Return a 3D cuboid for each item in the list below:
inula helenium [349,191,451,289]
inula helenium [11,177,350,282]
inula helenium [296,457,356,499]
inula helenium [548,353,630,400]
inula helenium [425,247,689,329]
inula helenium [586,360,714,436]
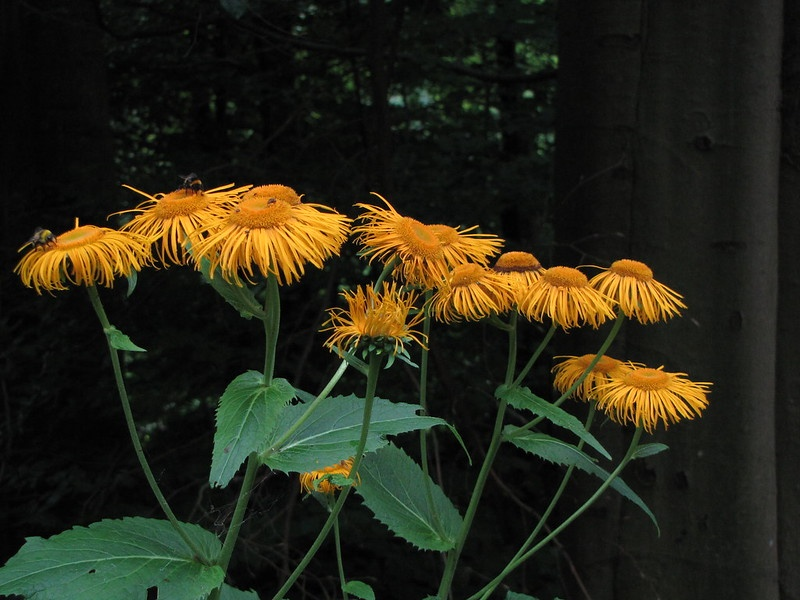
[{"bbox_3d":[0.009,-0.169,2.282,0.276,0.246,0.206,3,9,3],"label":"inula helenium"},{"bbox_3d":[-0.576,-0.171,2.107,0.676,0.166,0.395,-12,18,-14],"label":"inula helenium"},{"bbox_3d":[-0.226,0.535,2.332,0.175,0.063,0.167,-21,5,-20],"label":"inula helenium"},{"bbox_3d":[0.635,0.242,2.522,0.243,0.090,0.224,-2,14,4],"label":"inula helenium"},{"bbox_3d":[0.488,-0.042,2.376,0.768,0.240,0.266,1,9,-4],"label":"inula helenium"},{"bbox_3d":[0.770,0.292,2.396,0.345,0.127,0.319,6,29,16],"label":"inula helenium"}]
